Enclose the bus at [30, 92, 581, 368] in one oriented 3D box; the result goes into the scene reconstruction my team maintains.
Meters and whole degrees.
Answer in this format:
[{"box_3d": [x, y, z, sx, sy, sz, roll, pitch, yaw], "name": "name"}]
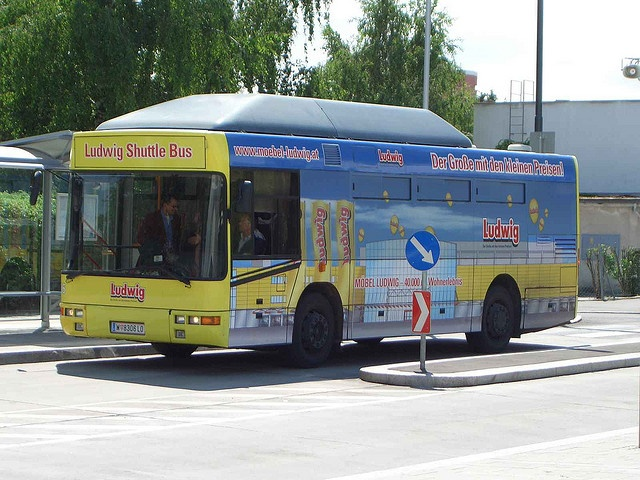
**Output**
[{"box_3d": [0.937, -0.176, 16.967, 9.881, 4.401, 3.226, 0, 0, -38], "name": "bus"}]
